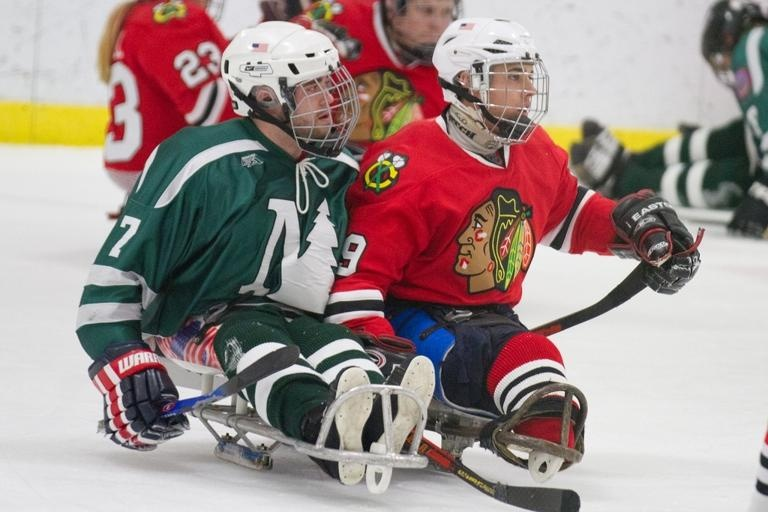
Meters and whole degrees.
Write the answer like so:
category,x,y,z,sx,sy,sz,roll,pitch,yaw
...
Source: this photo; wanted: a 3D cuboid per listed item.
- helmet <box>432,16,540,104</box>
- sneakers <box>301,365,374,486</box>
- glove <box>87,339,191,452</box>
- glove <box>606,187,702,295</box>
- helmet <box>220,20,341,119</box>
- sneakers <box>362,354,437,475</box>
category,x,y,z,sx,sy,sz,roll,pitch,yaw
helmet,0.395,-0.710,3.970,0.363,0.344,0.303,-1,4,19
sneakers,-0.111,0.536,3.419,0.155,0.458,0.179,15,-7,-40
glove,-0.844,0.472,3.541,0.266,0.373,0.180,-13,11,19
glove,1.051,-0.059,4.103,0.402,0.192,0.299,43,-13,-8
helmet,-0.381,-0.668,3.837,0.381,0.321,0.305,-4,37,7
sneakers,0.057,0.487,3.471,0.162,0.485,0.191,8,-4,-35
